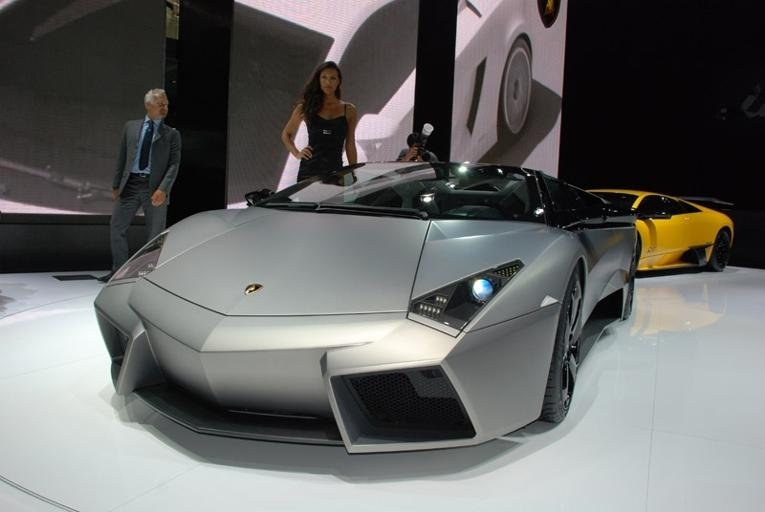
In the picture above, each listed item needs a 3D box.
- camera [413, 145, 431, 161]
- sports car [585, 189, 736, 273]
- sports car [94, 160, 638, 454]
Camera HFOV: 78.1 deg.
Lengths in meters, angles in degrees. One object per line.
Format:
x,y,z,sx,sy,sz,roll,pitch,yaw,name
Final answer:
0.399,-1.029,4.792,0.228,0.134,0.334,-6,5,8,camera
3.688,-0.307,5.956,2.050,0.660,1.414,1,1,-29,sports car
-0.086,0.065,2.307,2.492,1.195,1.297,6,8,-1,sports car
